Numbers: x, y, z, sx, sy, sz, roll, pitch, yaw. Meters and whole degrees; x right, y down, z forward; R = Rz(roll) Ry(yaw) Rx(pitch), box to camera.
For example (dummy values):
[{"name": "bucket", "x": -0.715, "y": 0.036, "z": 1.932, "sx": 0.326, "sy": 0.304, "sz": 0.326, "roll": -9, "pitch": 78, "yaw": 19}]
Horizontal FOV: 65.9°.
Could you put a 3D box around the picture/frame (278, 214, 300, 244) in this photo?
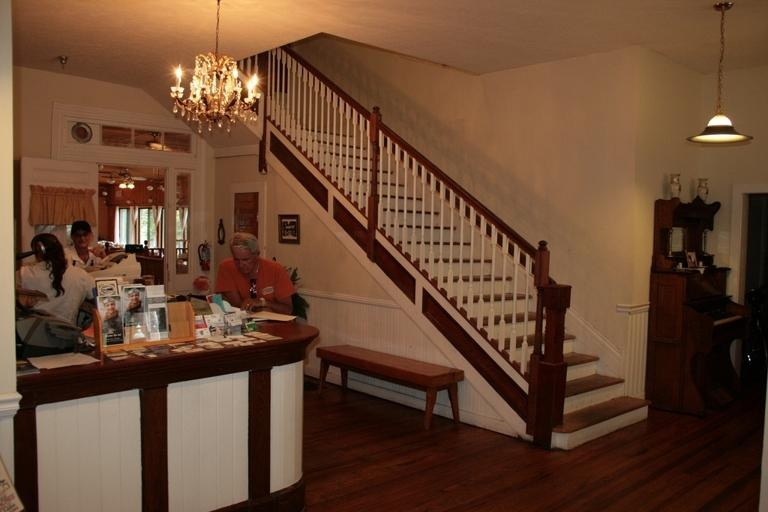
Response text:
[{"name": "picture/frame", "x": -1.359, "y": -0.392, "z": 8.474, "sx": 0.414, "sy": 0.425, "sz": 0.031, "roll": 4, "pitch": 6, "yaw": 43}]

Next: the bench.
[{"name": "bench", "x": 0.065, "y": 1.503, "z": 7.099, "sx": 1.701, "sy": 0.641, "sz": 0.547, "roll": 9, "pitch": 13, "yaw": 34}]

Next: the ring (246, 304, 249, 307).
[{"name": "ring", "x": -1.412, "y": 0.509, "z": 6.110, "sx": 0.031, "sy": 0.030, "sz": 0.007, "roll": 3, "pitch": -2, "yaw": -19}]

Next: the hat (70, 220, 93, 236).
[{"name": "hat", "x": -4.016, "y": -0.365, "z": 7.916, "sx": 0.245, "sy": 0.189, "sz": 0.248, "roll": 3, "pitch": 0, "yaw": 27}]

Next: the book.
[{"name": "book", "x": -1.953, "y": 0.456, "z": 4.558, "sx": 0.178, "sy": 0.485, "sz": 0.493, "roll": 4, "pitch": 6, "yaw": 45}]

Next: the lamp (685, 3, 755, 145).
[{"name": "lamp", "x": 4.031, "y": -2.068, "z": 7.097, "sx": 0.616, "sy": 1.460, "sz": 2.223, "roll": 7, "pitch": 12, "yaw": 27}]
